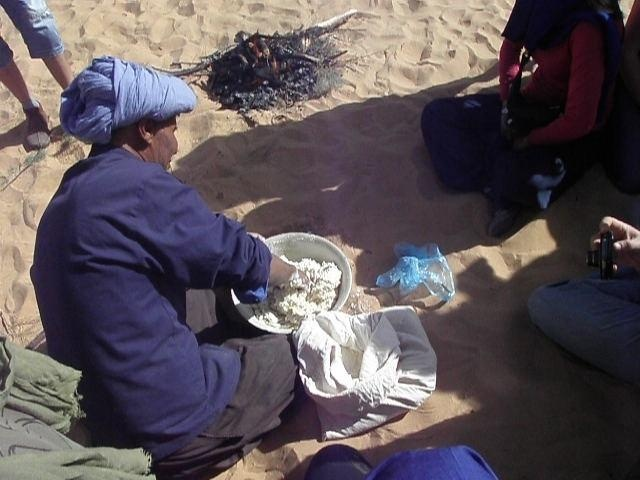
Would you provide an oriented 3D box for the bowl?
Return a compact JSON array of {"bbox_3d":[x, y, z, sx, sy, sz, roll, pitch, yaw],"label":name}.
[{"bbox_3d":[-0.118,0.308,5.584,0.643,0.206,0.780,6,57,2],"label":"bowl"}]
